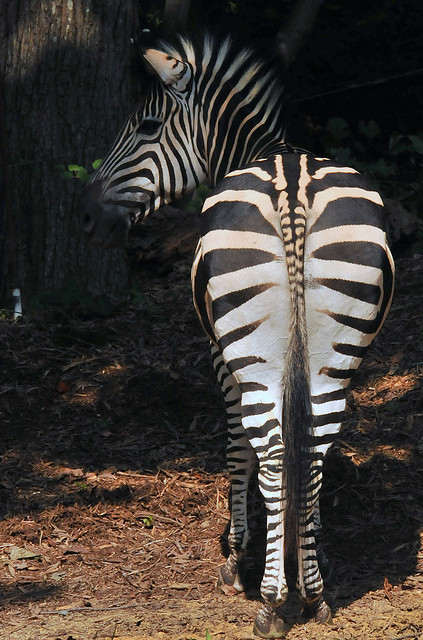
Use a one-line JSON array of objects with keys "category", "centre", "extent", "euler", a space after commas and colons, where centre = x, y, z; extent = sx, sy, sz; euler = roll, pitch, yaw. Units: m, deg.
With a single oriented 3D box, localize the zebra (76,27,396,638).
[{"category": "zebra", "centre": [0.132, -0.095, 3.681], "extent": [0.777, 1.989, 1.365], "euler": [10, -4, -41]}]
